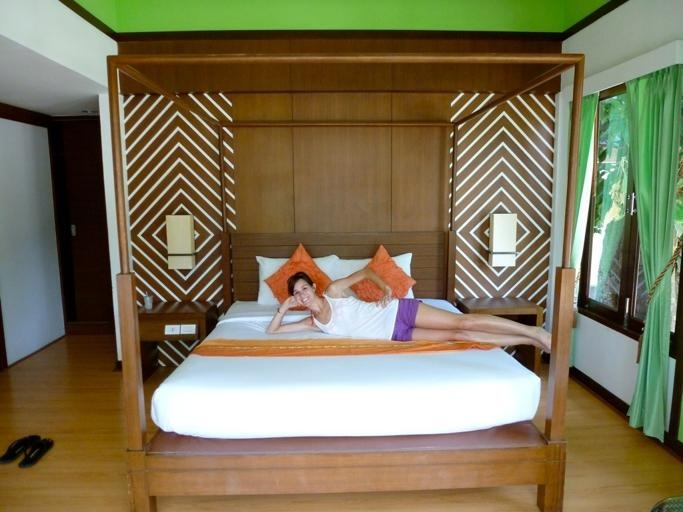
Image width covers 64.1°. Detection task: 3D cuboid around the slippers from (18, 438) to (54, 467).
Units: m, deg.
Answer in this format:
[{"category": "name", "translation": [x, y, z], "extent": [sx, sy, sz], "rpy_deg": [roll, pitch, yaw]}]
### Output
[{"category": "slippers", "translation": [-2.483, 1.599, 4.451], "extent": [0.185, 0.141, 0.269], "rpy_deg": [-1, 1, -9]}]

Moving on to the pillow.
[{"category": "pillow", "translation": [-0.084, 0.157, 5.548], "extent": [1.131, 0.792, 0.459], "rpy_deg": [1, -4, -2]}]

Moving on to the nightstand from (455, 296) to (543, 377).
[{"category": "nightstand", "translation": [1.703, 0.811, 5.771], "extent": [0.636, 0.662, 0.500], "rpy_deg": [0, 6, 2]}]

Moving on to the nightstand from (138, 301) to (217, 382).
[{"category": "nightstand", "translation": [-1.699, 0.760, 5.749], "extent": [0.944, 0.990, 0.675], "rpy_deg": [-1, 6, -6]}]
